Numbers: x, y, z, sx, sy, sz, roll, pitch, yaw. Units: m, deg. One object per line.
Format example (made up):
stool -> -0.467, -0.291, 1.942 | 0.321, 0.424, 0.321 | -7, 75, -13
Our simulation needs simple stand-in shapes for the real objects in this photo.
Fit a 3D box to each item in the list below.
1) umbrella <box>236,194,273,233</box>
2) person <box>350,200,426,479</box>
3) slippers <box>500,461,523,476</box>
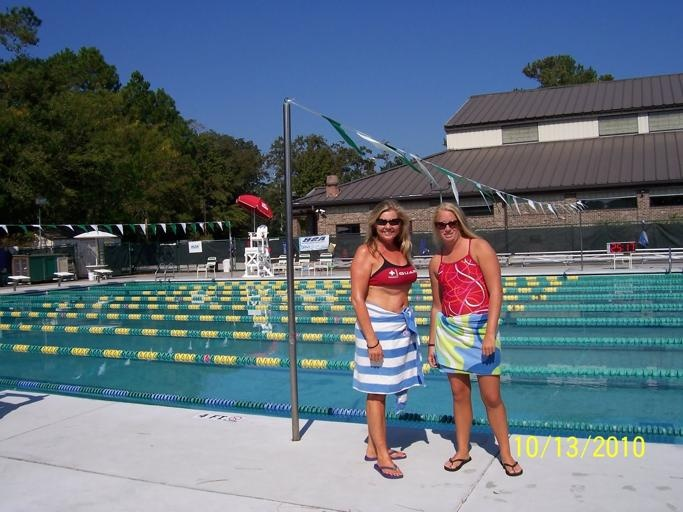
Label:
umbrella -> -3.508, -1.879, 27.649 | 1.195, 1.211, 2.385 | -3, 1, -4
person -> 0.444, 0.755, 6.428 | 0.668, 1.947, 0.483 | -3, 1, -8
slippers -> 1.560, 1.945, 6.235 | 0.192, 0.083, 0.144 | -3, 1, 16
